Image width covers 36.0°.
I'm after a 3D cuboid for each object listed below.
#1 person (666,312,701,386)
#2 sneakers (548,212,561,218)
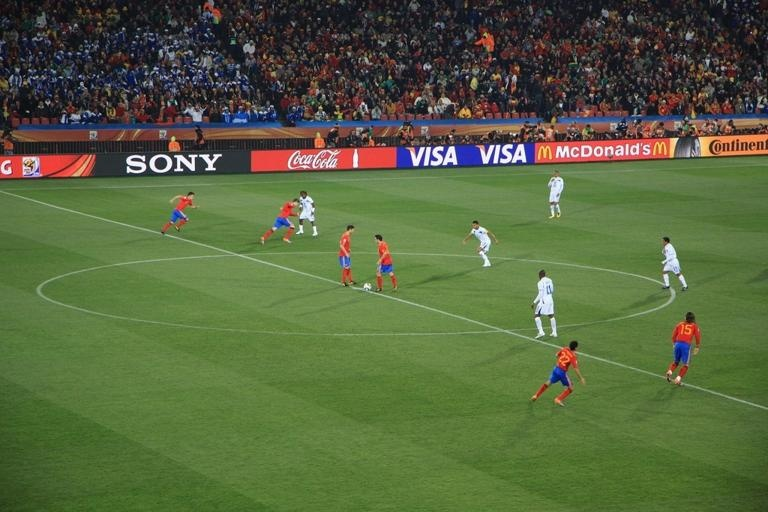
[{"bbox_3d":[9.988,3.035,39.678,0.982,2.374,0.980,3,7,12],"label":"person"},{"bbox_3d":[8.391,-2.012,58.267,0.652,0.245,0.216,-5,5,-42],"label":"sneakers"}]
